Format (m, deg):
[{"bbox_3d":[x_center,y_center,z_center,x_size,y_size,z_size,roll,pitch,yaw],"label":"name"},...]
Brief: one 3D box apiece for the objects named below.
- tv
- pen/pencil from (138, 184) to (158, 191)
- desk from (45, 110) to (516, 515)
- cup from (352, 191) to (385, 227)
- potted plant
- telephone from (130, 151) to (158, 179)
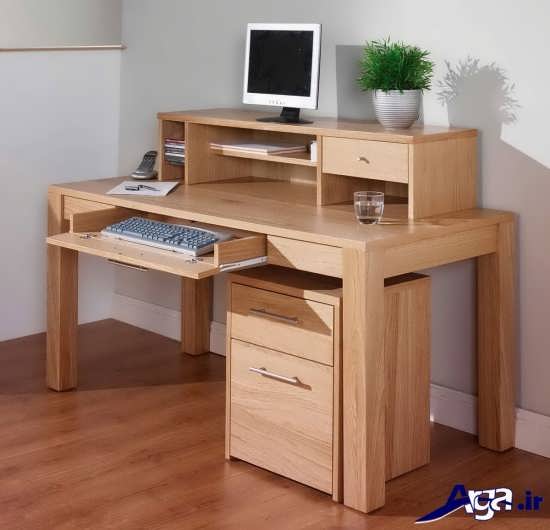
[{"bbox_3d":[0.023,-0.751,2.125,0.370,0.339,0.020,8,12,41],"label":"tv"},{"bbox_3d":[-0.484,-0.294,2.156,0.023,0.023,0.110,-16,19,-42],"label":"pen/pencil"},{"bbox_3d":[0.046,0.155,1.806,0.728,0.846,1.428,-7,11,-41],"label":"desk"},{"bbox_3d":[0.258,-0.159,1.555,0.098,0.089,0.092,0,5,0],"label":"cup"},{"bbox_3d":[0.402,-0.579,1.845,0.249,0.215,0.225,5,18,12],"label":"potted plant"},{"bbox_3d":[-0.560,-0.431,2.425,0.103,0.100,0.173,5,23,13],"label":"telephone"}]
